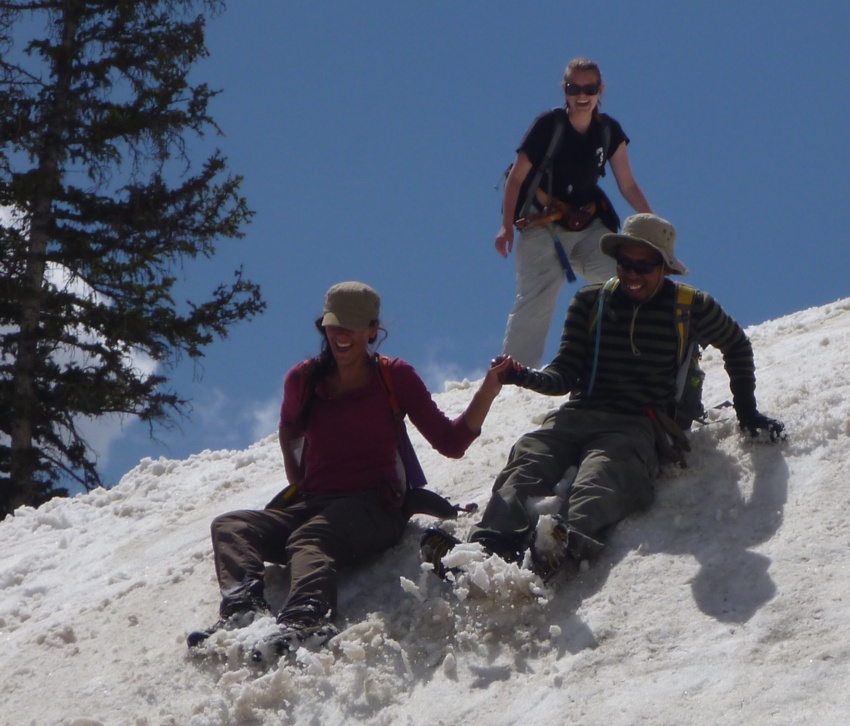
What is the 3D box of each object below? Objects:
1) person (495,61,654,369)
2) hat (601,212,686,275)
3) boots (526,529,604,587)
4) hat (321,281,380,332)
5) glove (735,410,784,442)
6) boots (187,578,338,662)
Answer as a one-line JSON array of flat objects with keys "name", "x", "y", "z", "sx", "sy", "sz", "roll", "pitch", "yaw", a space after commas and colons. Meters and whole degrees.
[{"name": "person", "x": 1.332, "y": -1.024, "z": 12.706, "sx": 1.245, "sy": 2.931, "sz": 0.906, "roll": -3, "pitch": -20, "yaw": 18}, {"name": "hat", "x": 1.648, "y": -0.900, "z": 11.227, "sx": 0.637, "sy": 0.404, "sz": 0.649, "roll": 18, "pitch": 3, "yaw": 6}, {"name": "boots", "x": 0.978, "y": 1.279, "z": 10.532, "sx": 0.449, "sy": 0.354, "sz": 0.203, "roll": -30, "pitch": -32, "yaw": 4}, {"name": "hat", "x": -0.544, "y": -0.431, "z": 11.269, "sx": 0.427, "sy": 0.383, "sz": 0.640, "roll": 4, "pitch": 2, "yaw": 16}, {"name": "glove", "x": 2.482, "y": 0.448, "z": 11.160, "sx": 0.240, "sy": 0.221, "sz": 0.118, "roll": 11, "pitch": 25, "yaw": 38}, {"name": "boots", "x": -1.097, "y": 1.813, "z": 10.477, "sx": 0.759, "sy": 0.399, "sz": 0.500, "roll": -12, "pitch": 21, "yaw": 20}]
